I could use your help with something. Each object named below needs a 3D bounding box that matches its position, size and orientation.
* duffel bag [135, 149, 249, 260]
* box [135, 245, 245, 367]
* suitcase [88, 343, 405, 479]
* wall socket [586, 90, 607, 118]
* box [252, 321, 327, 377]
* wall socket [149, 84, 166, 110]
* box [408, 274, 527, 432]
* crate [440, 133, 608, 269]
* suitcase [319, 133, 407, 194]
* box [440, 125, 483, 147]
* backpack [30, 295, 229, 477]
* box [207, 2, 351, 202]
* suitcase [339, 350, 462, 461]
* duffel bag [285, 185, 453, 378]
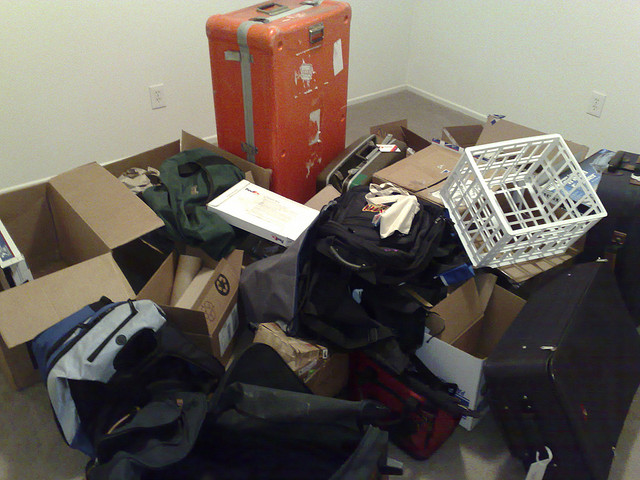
[{"bbox_3d":[-0.547,-0.210,2.417,0.522,0.482,0.429,-25,44,-37],"label":"duffel bag"},{"bbox_3d":[-0.513,0.275,2.077,0.237,0.328,0.338,12,51,18],"label":"box"},{"bbox_3d":[-0.240,0.599,1.628,0.702,0.252,0.551,-1,35,-7],"label":"suitcase"},{"bbox_3d":[1.691,-0.844,3.135,0.028,0.165,0.119,-29,45,-30],"label":"wall socket"},{"bbox_3d":[-0.112,0.390,1.965,0.210,0.091,0.185,28,25,29],"label":"box"},{"bbox_3d":[-0.985,-0.883,3.113,0.019,0.145,0.103,26,41,32],"label":"wall socket"},{"bbox_3d":[0.551,0.437,1.963,0.246,0.478,0.353,35,58,27],"label":"box"},{"bbox_3d":[0.869,-0.147,2.181,0.511,0.309,0.426,-28,48,-31],"label":"crate"},{"bbox_3d":[0.218,-0.392,2.657,0.153,0.265,0.283,40,71,8],"label":"suitcase"},{"bbox_3d":[0.824,-0.616,2.970,0.167,0.103,0.168,-15,38,-24],"label":"box"},{"bbox_3d":[-0.696,0.513,1.904,0.543,0.274,0.716,-36,83,-28],"label":"backpack"},{"bbox_3d":[-0.258,-0.628,2.698,0.619,1.078,0.441,-28,47,-36],"label":"box"},{"bbox_3d":[0.352,0.582,2.087,0.479,0.353,0.193,42,33,7],"label":"suitcase"},{"bbox_3d":[0.201,0.265,2.237,0.677,0.646,0.564,13,37,2],"label":"duffel bag"}]
